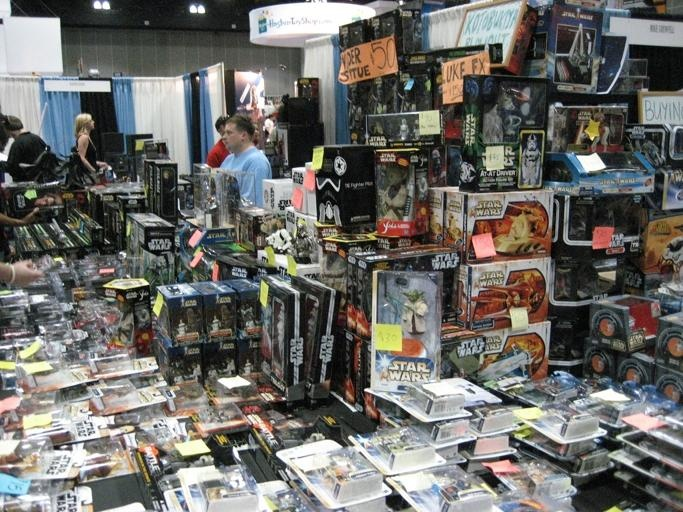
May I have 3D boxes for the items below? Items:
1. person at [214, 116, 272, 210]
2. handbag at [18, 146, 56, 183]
[{"bbox_3d":[-0.883,-0.944,4.999,0.460,0.857,1.870,-6,11,-11],"label":"person"},{"bbox_3d":[-3.466,-1.056,6.166,0.401,0.390,1.185,-10,13,-29],"label":"handbag"}]
